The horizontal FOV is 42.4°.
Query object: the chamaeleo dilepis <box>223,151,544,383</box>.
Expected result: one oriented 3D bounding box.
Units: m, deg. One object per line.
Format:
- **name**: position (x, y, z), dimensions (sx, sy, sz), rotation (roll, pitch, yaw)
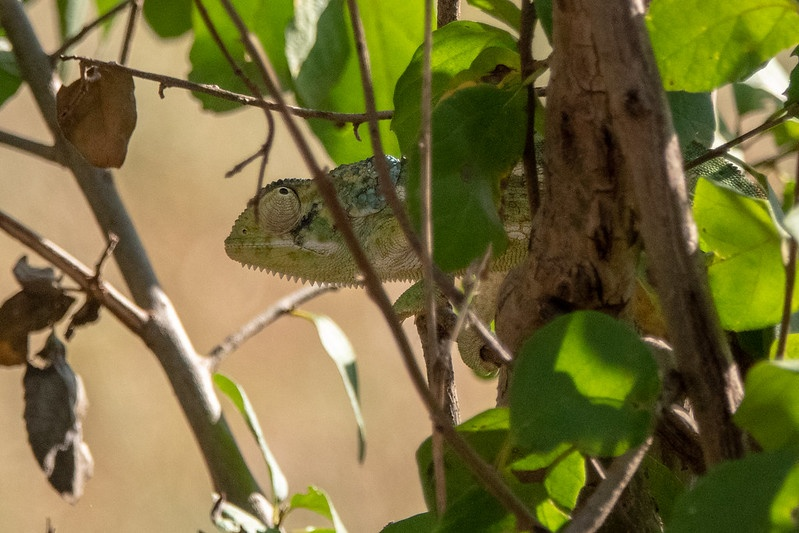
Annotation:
- **chamaeleo dilepis**: position (0.064, -0.010, 1.044), dimensions (0.471, 0.201, 0.148), rotation (-7, -1, 7)
